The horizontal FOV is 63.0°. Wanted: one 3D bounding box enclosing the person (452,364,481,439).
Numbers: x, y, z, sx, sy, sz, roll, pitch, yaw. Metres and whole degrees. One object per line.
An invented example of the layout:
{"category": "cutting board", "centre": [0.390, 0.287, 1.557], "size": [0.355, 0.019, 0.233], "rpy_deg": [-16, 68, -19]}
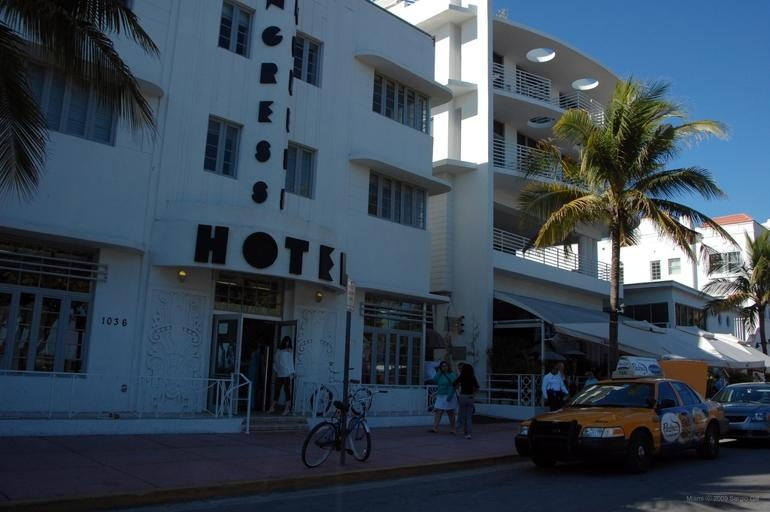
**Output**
{"category": "person", "centre": [2.499, 4.388, 19.130], "size": [0.631, 2.227, 1.447], "rpy_deg": [0, -15, 6]}

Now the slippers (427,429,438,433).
{"category": "slippers", "centre": [1.503, 5.508, 19.742], "size": [0.246, 0.097, 0.130], "rpy_deg": [8, -14, 8]}

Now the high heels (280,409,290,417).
{"category": "high heels", "centre": [-3.012, 4.745, 19.067], "size": [0.118, 0.136, 0.342], "rpy_deg": [5, -8, -27]}

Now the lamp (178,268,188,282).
{"category": "lamp", "centre": [-6.055, 0.546, 18.817], "size": [0.397, 0.516, 0.100], "rpy_deg": [1, 7, -28]}

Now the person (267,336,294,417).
{"category": "person", "centre": [-3.170, 3.684, 19.526], "size": [0.659, 2.400, 1.063], "rpy_deg": [4, -16, -9]}

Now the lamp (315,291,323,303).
{"category": "lamp", "centre": [-2.234, 1.395, 21.549], "size": [0.163, 0.368, 0.372], "rpy_deg": [-4, -16, 18]}

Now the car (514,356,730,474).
{"category": "car", "centre": [5.864, 4.017, 15.354], "size": [4.963, 2.213, 1.968], "rpy_deg": [10, -17, -29]}
